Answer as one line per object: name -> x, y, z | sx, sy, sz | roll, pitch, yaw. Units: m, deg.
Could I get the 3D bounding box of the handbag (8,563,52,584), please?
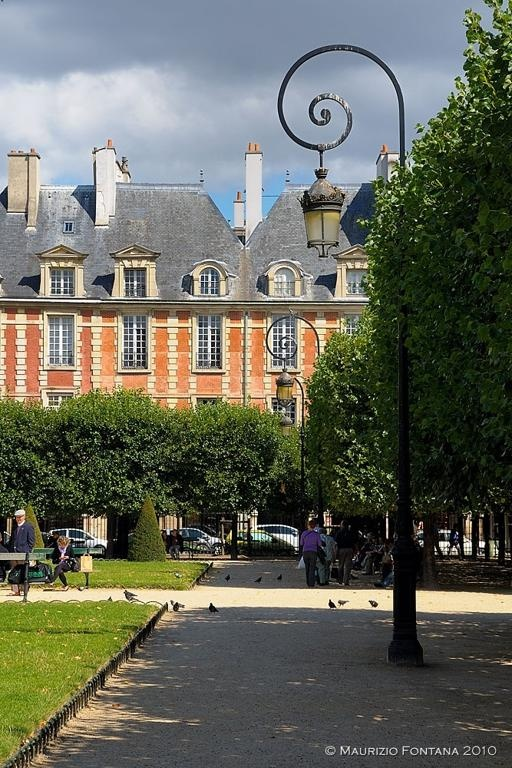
handbag -> -3.451, 2.962, 25.067 | 0.429, 0.218, 0.363 | 0, 1, -3

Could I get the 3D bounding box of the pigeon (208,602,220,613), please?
pigeon -> -0.556, 2.927, 20.709 | 0.084, 0.156, 0.173 | -5, -6, 10

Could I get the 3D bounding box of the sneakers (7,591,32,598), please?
sneakers -> -3.472, 3.110, 23.471 | 0.235, 0.142, 0.337 | 7, -12, -36

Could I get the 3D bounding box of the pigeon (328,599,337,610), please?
pigeon -> 1.011, 3.018, 21.742 | 0.074, 0.158, 0.138 | -9, 3, 22

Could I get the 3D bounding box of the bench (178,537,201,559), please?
bench -> -1.925, 4.683, 45.776 | 0.513, 0.281, 0.914 | 0, 2, 4
